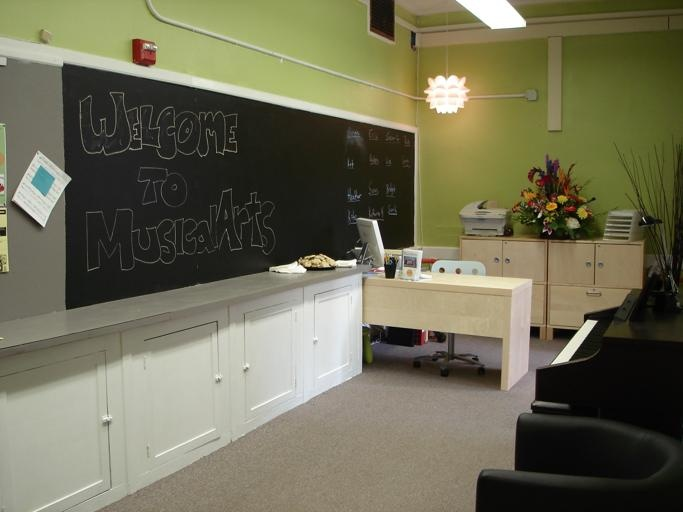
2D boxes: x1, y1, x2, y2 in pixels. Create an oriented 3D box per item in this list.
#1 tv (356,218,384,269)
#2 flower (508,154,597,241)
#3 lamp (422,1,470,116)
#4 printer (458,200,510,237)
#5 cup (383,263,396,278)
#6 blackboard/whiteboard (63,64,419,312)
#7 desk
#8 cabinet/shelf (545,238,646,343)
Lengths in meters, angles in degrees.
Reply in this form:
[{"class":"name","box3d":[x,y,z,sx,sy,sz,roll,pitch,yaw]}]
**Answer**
[{"class":"tv","box3d":[0.252,-0.102,5.048,0.177,0.315,0.419,-15,14,-9]},{"class":"flower","box3d":[2.438,-0.692,6.176,0.643,0.870,0.825,-13,12,-16]},{"class":"lamp","box3d":[1.090,-1.921,5.814,0.596,0.929,0.637,-1,9,2]},{"class":"printer","box3d":[1.676,-0.433,6.336,0.542,0.401,0.319,10,13,22]},{"class":"cup","box3d":[0.433,0.137,4.885,0.099,0.119,0.109,0,-5,-4]},{"class":"blackboard/whiteboard","box3d":[-0.808,-0.550,4.280,0.221,1.467,2.904,12,14,34]},{"class":"desk","box3d":[1.033,0.574,5.040,0.693,1.009,0.749,0,5,-14]},{"class":"cabinet/shelf","box3d":[2.370,0.256,5.006,1.009,1.276,0.468,1,0,25]}]
